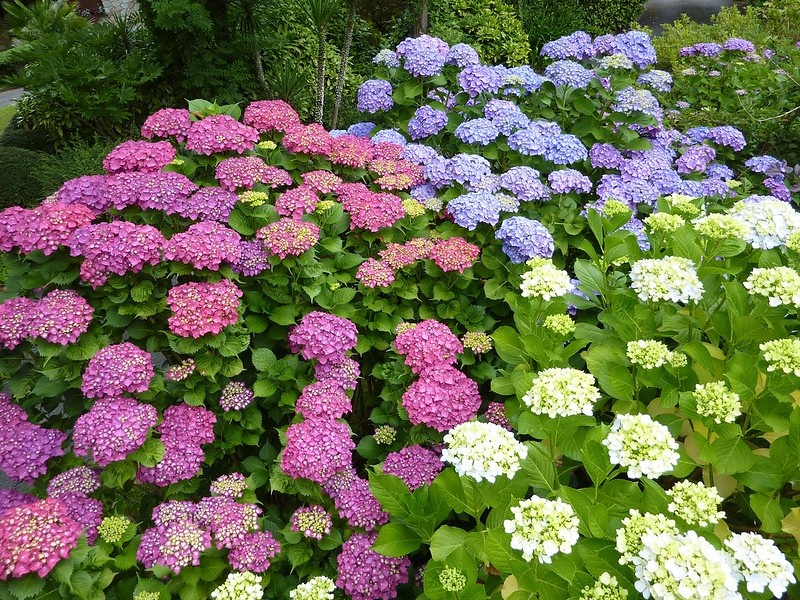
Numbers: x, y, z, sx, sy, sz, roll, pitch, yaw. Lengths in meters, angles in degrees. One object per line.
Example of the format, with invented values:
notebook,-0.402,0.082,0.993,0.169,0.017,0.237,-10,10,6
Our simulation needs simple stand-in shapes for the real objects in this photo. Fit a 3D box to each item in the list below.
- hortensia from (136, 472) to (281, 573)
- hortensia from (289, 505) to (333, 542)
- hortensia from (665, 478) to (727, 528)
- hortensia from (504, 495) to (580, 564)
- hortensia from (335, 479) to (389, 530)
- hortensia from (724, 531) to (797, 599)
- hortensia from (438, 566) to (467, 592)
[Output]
hortensia,-0.901,1.042,3.010,0.447,0.158,0.467,10,44,-8
hortensia,-0.445,1.117,3.209,0.168,0.064,0.173,26,38,18
hortensia,1.156,0.805,2.520,0.183,0.107,0.206,33,72,22
hortensia,0.564,0.889,2.506,0.269,0.117,0.262,32,59,12
hortensia,-0.211,1.073,3.278,0.211,0.104,0.275,-29,66,-23
hortensia,1.329,0.965,2.377,0.231,0.115,0.241,8,49,-2
hortensia,0.221,1.165,2.645,0.103,0.062,0.095,28,34,23
